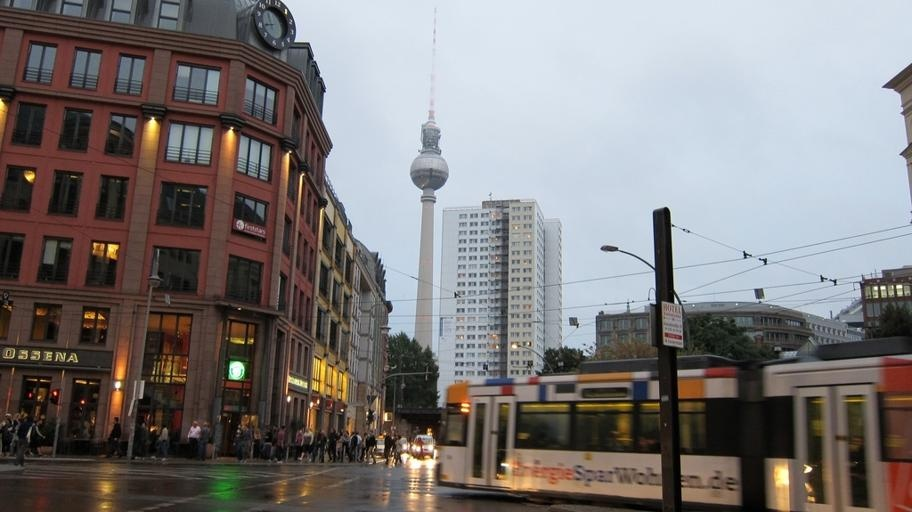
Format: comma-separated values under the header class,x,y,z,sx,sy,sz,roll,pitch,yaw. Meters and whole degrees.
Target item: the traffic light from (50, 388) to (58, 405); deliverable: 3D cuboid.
class,x,y,z,sx,sy,sz,roll,pitch,yaw
traffic light,-25.763,9.014,46.036,0.464,0.892,1.131,8,-18,-28
